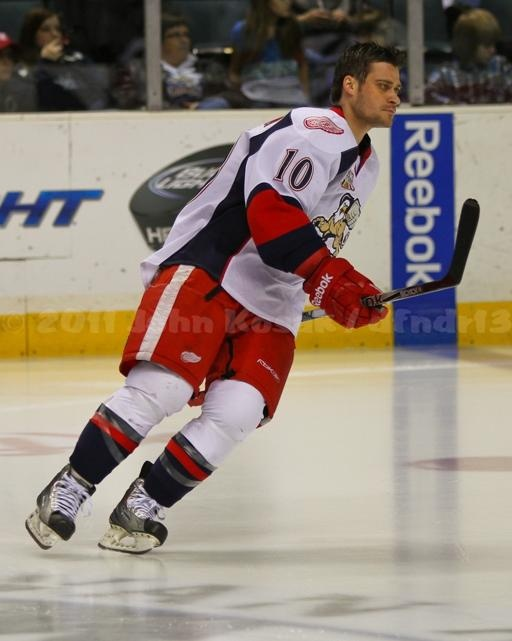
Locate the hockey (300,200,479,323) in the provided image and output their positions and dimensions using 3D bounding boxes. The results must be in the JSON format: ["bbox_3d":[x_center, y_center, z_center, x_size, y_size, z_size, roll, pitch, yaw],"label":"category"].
[{"bbox_3d":[0.345,-0.141,1.880,0.202,0.226,0.247,5,12,9],"label":"hockey"}]

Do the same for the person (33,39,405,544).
[{"bbox_3d":[-0.093,0.012,2.104,0.747,1.003,0.506,4,13,3],"label":"person"}]

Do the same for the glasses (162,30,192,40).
[{"bbox_3d":[-0.535,-1.962,6.264,0.143,0.065,0.114,4,7,42],"label":"glasses"}]

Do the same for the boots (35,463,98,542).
[{"bbox_3d":[-0.446,0.404,2.077,0.079,0.116,0.234,49,4,-11],"label":"boots"}]
